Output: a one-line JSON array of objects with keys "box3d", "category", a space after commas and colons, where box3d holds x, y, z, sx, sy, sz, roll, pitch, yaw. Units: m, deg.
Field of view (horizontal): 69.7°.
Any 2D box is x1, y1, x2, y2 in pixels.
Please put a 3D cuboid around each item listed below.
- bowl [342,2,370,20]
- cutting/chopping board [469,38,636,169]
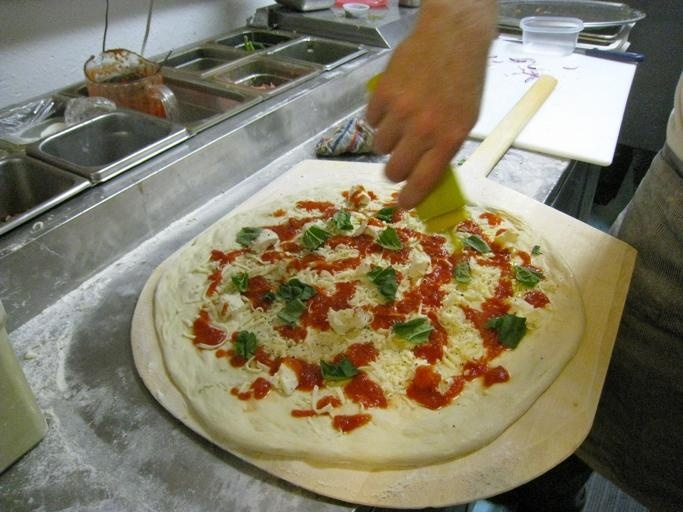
[{"box3d": [0.083, -1.419, 2.822, 0.146, 0.059, 0.236, 3, 43, 0], "category": "bowl"}, {"box3d": [1.084, -0.775, 2.368, 0.855, 0.049, 0.971, 10, 45, 12], "category": "cutting/chopping board"}]
